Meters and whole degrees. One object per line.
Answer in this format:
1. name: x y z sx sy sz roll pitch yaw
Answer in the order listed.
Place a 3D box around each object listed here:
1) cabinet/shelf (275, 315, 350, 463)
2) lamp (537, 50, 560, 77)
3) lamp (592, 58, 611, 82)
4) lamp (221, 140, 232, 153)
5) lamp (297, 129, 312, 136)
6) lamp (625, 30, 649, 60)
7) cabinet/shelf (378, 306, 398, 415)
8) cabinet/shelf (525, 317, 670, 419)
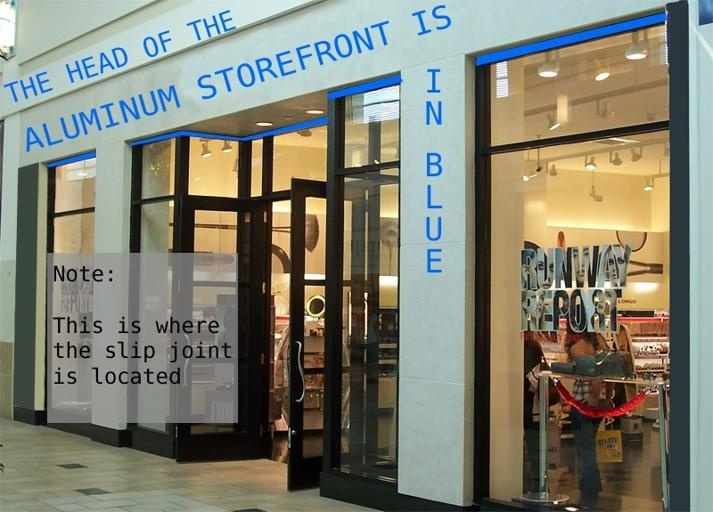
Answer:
1. cabinet/shelf: -0.499 1.533 7.529 0.224 2.187 0.825 9 6 37
2. lamp: 1.577 -1.558 5.729 0.185 0.299 0.160 2 -3 15
3. lamp: 1.916 -1.438 5.478 0.152 0.149 0.136 -11 -12 41
4. lamp: -1.655 -1.375 8.847 0.124 0.128 0.117 1 4 35
5. lamp: -0.619 -1.466 8.362 0.194 0.081 0.049 -4 -11 30
6. lamp: 2.130 -1.581 5.266 0.183 0.254 0.177 3 4 43
7. cabinet/shelf: 0.303 1.006 6.618 0.106 0.986 0.269 11 -13 -42
8. cabinet/shelf: 1.913 0.951 5.673 0.968 0.760 0.542 -2 -11 23
